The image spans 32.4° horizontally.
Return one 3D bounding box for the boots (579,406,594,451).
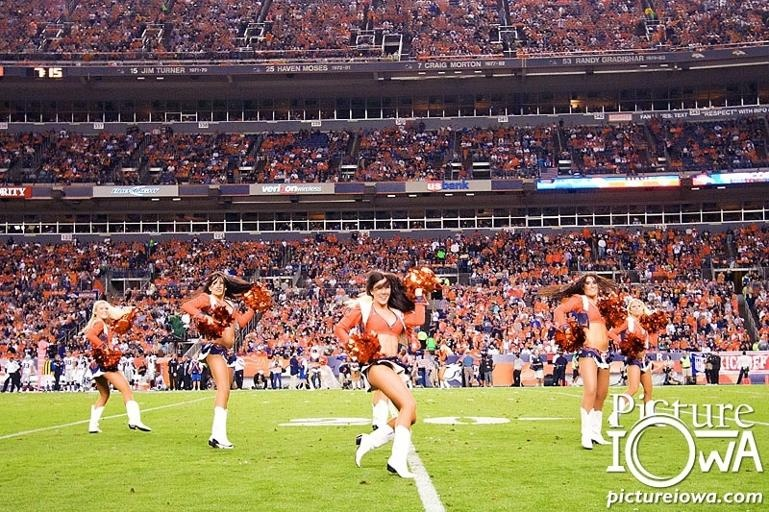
[{"bbox_3d":[7.753,6.532,50.854,0.433,1.562,0.370,-2,-3,7],"label":"boots"}]
